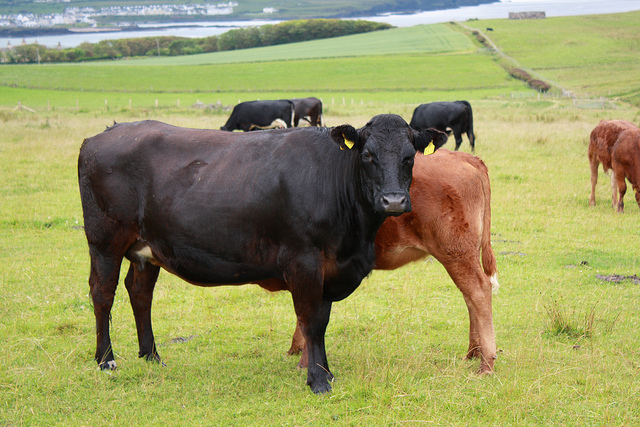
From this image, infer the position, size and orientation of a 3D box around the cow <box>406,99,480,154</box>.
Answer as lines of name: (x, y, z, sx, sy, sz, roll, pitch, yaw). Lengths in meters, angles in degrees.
cow: (5.261, -3.892, 40.600, 1.190, 2.289, 4.576, -5, 8, -42)

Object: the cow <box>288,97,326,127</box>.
cow: (-1.158, -5.548, 50.224, 3.448, 1.774, 0.915, 2, 15, 35)
